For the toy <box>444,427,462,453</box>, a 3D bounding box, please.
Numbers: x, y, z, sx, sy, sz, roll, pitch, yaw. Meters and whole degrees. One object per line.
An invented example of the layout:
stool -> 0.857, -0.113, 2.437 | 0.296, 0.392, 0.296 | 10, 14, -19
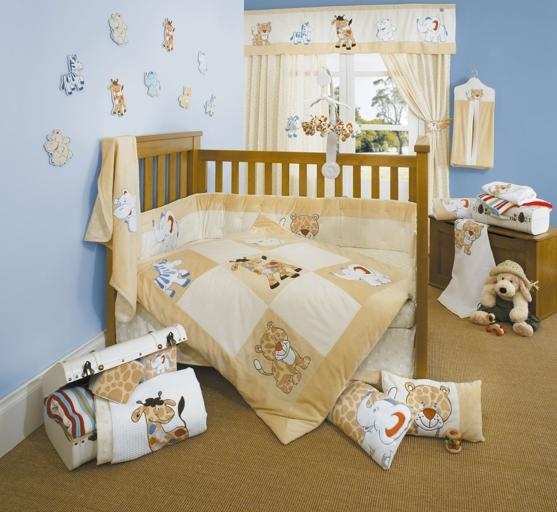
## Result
toy -> 0.670, 0.698, 1.892 | 0.061, 0.054, 0.093 | 4, 13, 19

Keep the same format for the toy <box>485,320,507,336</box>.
toy -> 1.253, 0.414, 2.861 | 0.068, 0.062, 0.074 | 10, 11, 26

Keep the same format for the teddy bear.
teddy bear -> 1.337, 0.206, 3.011 | 0.344, 0.497, 0.398 | -18, 23, -41

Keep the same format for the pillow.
pillow -> 0.525, 0.600, 2.011 | 0.621, 0.202, 0.418 | -4, 13, -15

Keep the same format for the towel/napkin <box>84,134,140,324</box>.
towel/napkin -> -0.749, -0.109, 2.269 | 0.197, 0.842, 0.201 | 0, 11, 3

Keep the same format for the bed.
bed -> 0.091, 0.207, 2.871 | 1.687, 1.683, 1.154 | 2, 5, 16
